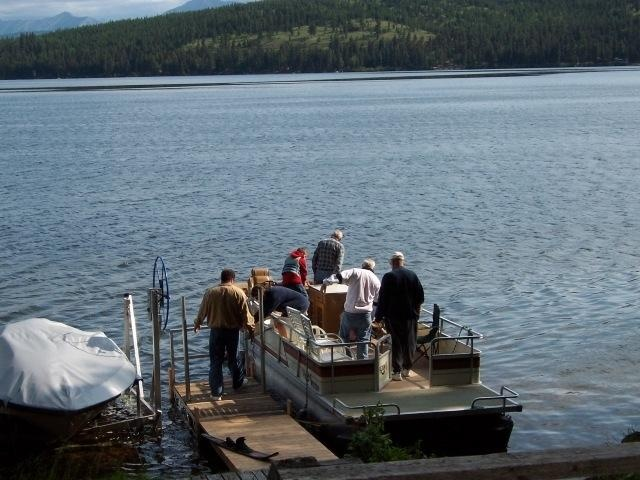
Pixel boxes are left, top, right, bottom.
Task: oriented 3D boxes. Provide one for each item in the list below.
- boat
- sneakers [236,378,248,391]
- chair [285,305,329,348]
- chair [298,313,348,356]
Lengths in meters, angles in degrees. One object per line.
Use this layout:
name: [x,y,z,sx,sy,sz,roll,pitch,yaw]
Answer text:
boat: [0.875,2.553,25.237,3.488,2.327,6.486,-8,19,-25]
sneakers: [-1.899,3.468,25.705,0.138,0.188,0.460,12,23,2]
chair: [-0.305,2.036,24.972,0.501,0.832,1.202,6,-18,11]
chair: [-0.019,2.334,24.623,0.688,1.333,1.309,-5,8,-34]
